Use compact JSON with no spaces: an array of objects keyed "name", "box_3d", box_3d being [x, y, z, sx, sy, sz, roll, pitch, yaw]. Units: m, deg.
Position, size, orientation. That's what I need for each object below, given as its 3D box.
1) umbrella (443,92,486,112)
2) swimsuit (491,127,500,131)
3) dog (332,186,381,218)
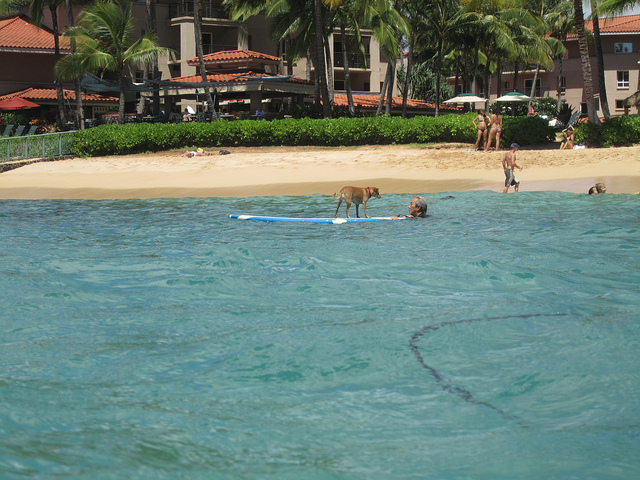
[{"name":"umbrella","box_3d":[8.821,-8.571,41.343,2.490,0.627,1.905,-1,9,-6]},{"name":"swimsuit","box_3d":[7.196,-4.527,27.599,0.307,0.052,0.235,4,3,5]},{"name":"dog","box_3d":[0.836,-0.910,15.956,1.558,0.602,0.490,-2,4,-41]}]
